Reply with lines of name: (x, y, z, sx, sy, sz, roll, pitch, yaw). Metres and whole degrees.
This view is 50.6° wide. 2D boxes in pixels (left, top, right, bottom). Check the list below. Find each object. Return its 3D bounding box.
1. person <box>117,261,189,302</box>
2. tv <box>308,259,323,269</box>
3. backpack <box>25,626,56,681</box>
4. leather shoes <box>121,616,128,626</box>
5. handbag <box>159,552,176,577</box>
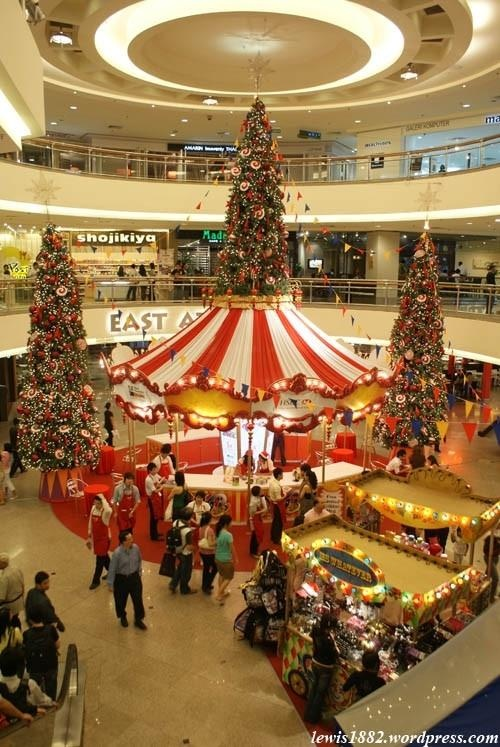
person: (-2.950, -2.851, 16.432, 2.088, 1.187, 1.018, -3, 8, -21)
tv: (2.510, -4.182, 20.331, 0.525, 0.460, 1.546, 0, 7, 6)
backpack: (-1.665, 2.157, 4.219, 0.273, 0.376, 0.193, 0, 11, -9)
leather shoes: (-1.364, 2.679, 5.745, 0.047, 0.098, 0.140, 1, 0, -22)
handbag: (-1.026, 2.397, 6.620, 0.175, 0.465, 0.306, -5, 34, -16)
